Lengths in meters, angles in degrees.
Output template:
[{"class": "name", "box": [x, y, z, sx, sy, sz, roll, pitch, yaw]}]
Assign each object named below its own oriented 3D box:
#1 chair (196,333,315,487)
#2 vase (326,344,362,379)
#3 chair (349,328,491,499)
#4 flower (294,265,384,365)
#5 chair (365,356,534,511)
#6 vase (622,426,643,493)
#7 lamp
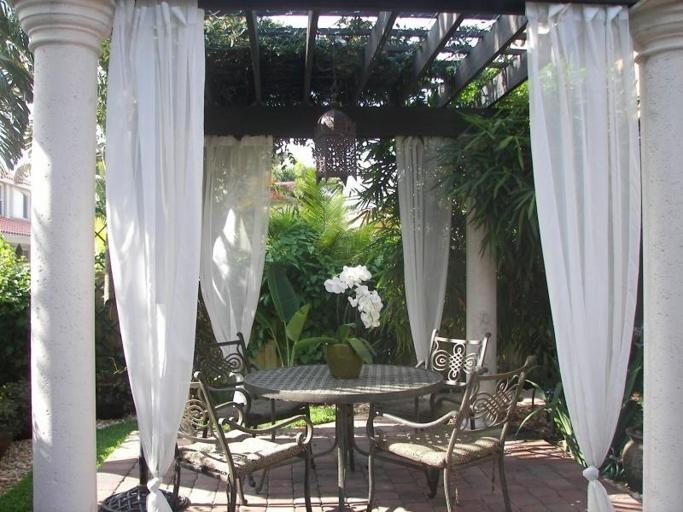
[{"class": "chair", "box": [-0.680, 1.154, 5.322, 0.857, 1.609, 0.836, -12, 20, -38]}, {"class": "vase", "box": [0.018, 0.729, 4.495, 0.233, 0.208, 0.229, -7, -9, 35]}, {"class": "chair", "box": [0.724, 1.377, 4.938, 0.940, 1.461, 1.069, -6, 7, 11]}, {"class": "flower", "box": [0.058, 0.417, 4.589, 0.559, 0.732, 0.461, -3, -13, 33]}, {"class": "chair", "box": [0.677, 1.122, 4.532, 0.992, 1.041, 1.470, 0, 2, 3]}, {"class": "vase", "box": [2.007, 1.409, 4.492, 0.112, 0.409, 0.191, 0, 3, 18]}, {"class": "lamp", "box": [-0.047, -0.884, 4.766, 0.295, 0.740, 0.225, -1, 3, -3]}]
